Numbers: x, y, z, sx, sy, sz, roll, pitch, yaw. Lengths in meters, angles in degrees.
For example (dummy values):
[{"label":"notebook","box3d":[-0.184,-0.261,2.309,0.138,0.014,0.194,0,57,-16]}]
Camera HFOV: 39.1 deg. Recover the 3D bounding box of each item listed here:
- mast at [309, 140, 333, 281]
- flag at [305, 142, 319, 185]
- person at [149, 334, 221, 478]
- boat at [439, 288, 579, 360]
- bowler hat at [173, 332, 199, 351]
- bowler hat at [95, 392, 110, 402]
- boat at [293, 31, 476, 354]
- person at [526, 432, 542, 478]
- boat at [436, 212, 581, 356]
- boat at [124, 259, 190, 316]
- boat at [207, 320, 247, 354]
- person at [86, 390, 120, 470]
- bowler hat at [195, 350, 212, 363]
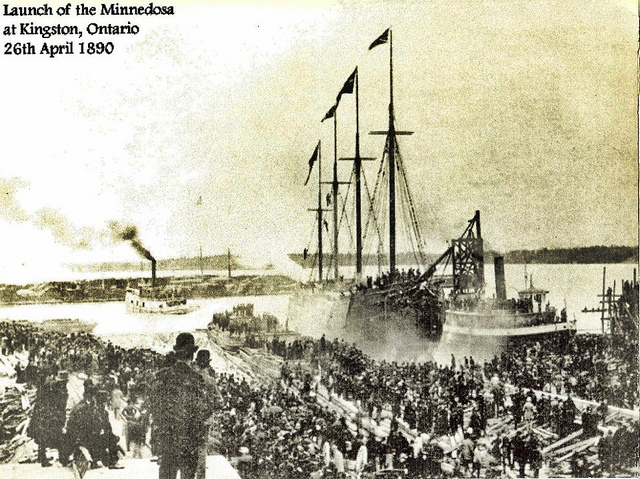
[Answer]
[{"label":"mast","box3d":[0.005,-0.570,18.913,0.279,2.845,0.893,-1,-3,2]},{"label":"flag","box3d":[-0.155,-1.564,18.605,0.167,0.954,0.024,17,-12,-20]},{"label":"person","box3d":[-2.132,2.656,14.247,1.039,2.288,0.496,0,-2,-4]},{"label":"boat","box3d":[3.848,1.802,19.275,2.550,1.466,0.634,-1,-3,10]},{"label":"bowler hat","box3d":[-2.226,1.718,14.970,0.299,0.224,0.474,6,-40,-9]},{"label":"bowler hat","box3d":[-4.149,3.008,17.193,0.268,0.178,0.101,1,-3,-18]},{"label":"boat","box3d":[1.659,-1.483,21.124,1.176,5.826,5.487,-11,-31,27]},{"label":"person","box3d":[4.076,4.108,17.122,0.251,0.962,0.687,-1,-3,16]},{"label":"boat","box3d":[4.080,1.075,19.421,3.083,2.807,2.363,6,19,0]},{"label":"boat","box3d":[-3.261,1.024,18.499,1.165,1.250,0.876,0,1,10]},{"label":"boat","box3d":[-1.894,2.009,18.151,0.530,0.291,0.686,18,1,-34]},{"label":"person","box3d":[-4.035,3.573,16.937,0.701,1.367,0.468,-2,-3,35]},{"label":"bowler hat","box3d":[-1.946,1.946,14.933,0.173,0.199,0.163,-1,1,14]}]
